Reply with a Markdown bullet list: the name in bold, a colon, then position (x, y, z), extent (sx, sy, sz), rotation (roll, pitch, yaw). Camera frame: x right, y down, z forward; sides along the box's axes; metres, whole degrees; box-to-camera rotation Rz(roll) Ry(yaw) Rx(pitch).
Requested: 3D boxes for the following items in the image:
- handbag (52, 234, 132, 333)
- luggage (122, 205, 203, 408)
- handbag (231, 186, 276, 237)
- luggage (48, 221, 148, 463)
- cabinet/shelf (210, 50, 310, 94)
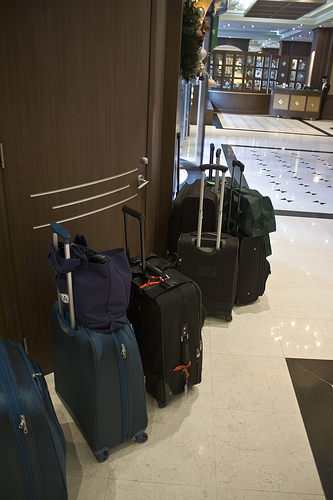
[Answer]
- **handbag**: position (-0.270, 0.123, 1.272), extent (0.291, 0.324, 0.219), rotation (13, 18, 38)
- **luggage**: position (-0.018, 0.284, 1.669), extent (0.315, 1.102, 0.488), rotation (-19, 38, -24)
- **handbag**: position (0.629, -0.272, 2.552), extent (0.220, 0.344, 0.298), rotation (-13, 22, -19)
- **luggage**: position (-0.257, 0.384, 1.293), extent (0.285, 0.905, 0.500), rotation (-11, 31, -26)
- **cabinet/shelf**: position (4.906, -9.529, 18.568), extent (5.265, 1.955, 1.005), rotation (-3, 20, -12)
